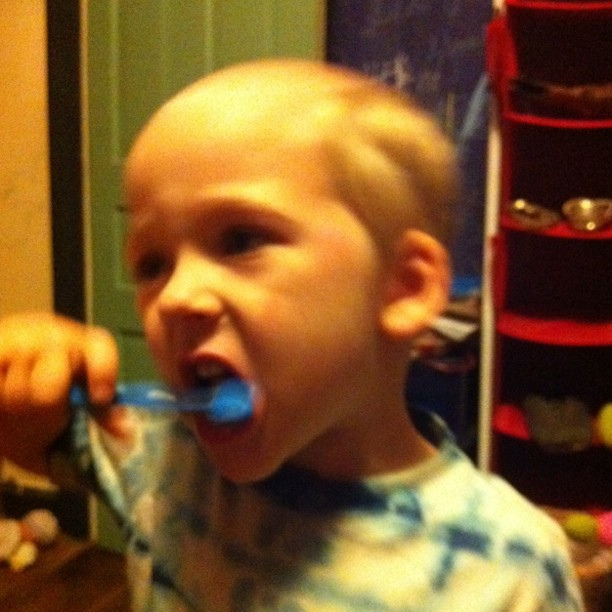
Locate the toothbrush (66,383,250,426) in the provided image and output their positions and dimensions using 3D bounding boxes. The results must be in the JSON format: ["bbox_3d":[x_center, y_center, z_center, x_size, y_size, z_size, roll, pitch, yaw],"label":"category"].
[{"bbox_3d":[-0.104,0.064,0.523,0.130,0.041,0.027,5,30,2],"label":"toothbrush"}]
